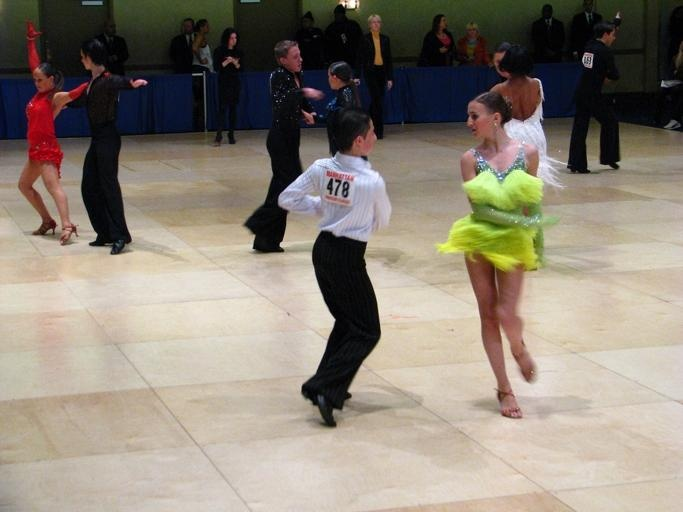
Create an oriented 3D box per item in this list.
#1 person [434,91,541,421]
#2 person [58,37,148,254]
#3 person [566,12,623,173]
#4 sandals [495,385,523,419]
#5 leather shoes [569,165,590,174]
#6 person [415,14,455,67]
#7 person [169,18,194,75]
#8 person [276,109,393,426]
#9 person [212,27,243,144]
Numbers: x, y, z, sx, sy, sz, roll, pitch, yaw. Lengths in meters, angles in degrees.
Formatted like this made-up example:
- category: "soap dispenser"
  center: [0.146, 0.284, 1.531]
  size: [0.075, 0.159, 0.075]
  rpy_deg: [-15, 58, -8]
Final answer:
- category: "person"
  center: [0.931, -0.001, 3.621]
  size: [0.581, 1.953, 0.510]
  rpy_deg: [3, 15, 17]
- category: "person"
  center: [-2.979, -1.181, 7.558]
  size: [0.886, 2.190, 0.561]
  rpy_deg: [11, 19, 40]
- category: "person"
  center: [5.179, -3.192, 11.881]
  size: [0.965, 2.968, 1.394]
  rpy_deg: [4, 15, 22]
- category: "sandals"
  center: [1.032, 0.912, 3.632]
  size: [0.094, 0.103, 0.256]
  rpy_deg: [-4, 4, -2]
- category: "leather shoes"
  center: [4.774, -1.740, 11.872]
  size: [0.485, 0.176, 0.151]
  rpy_deg: [-4, 11, 7]
- category: "person"
  center: [2.950, -6.694, 18.344]
  size: [0.909, 1.522, 0.497]
  rpy_deg: [-1, 14, 3]
- category: "person"
  center: [-4.867, -6.413, 18.048]
  size: [0.729, 1.598, 0.639]
  rpy_deg: [-4, 14, -8]
- category: "person"
  center: [0.015, 0.081, 3.477]
  size: [0.547, 1.837, 0.474]
  rpy_deg: [-3, 15, -4]
- category: "person"
  center: [-2.983, -4.436, 15.412]
  size: [0.780, 2.926, 1.235]
  rpy_deg: [-3, 14, -5]
